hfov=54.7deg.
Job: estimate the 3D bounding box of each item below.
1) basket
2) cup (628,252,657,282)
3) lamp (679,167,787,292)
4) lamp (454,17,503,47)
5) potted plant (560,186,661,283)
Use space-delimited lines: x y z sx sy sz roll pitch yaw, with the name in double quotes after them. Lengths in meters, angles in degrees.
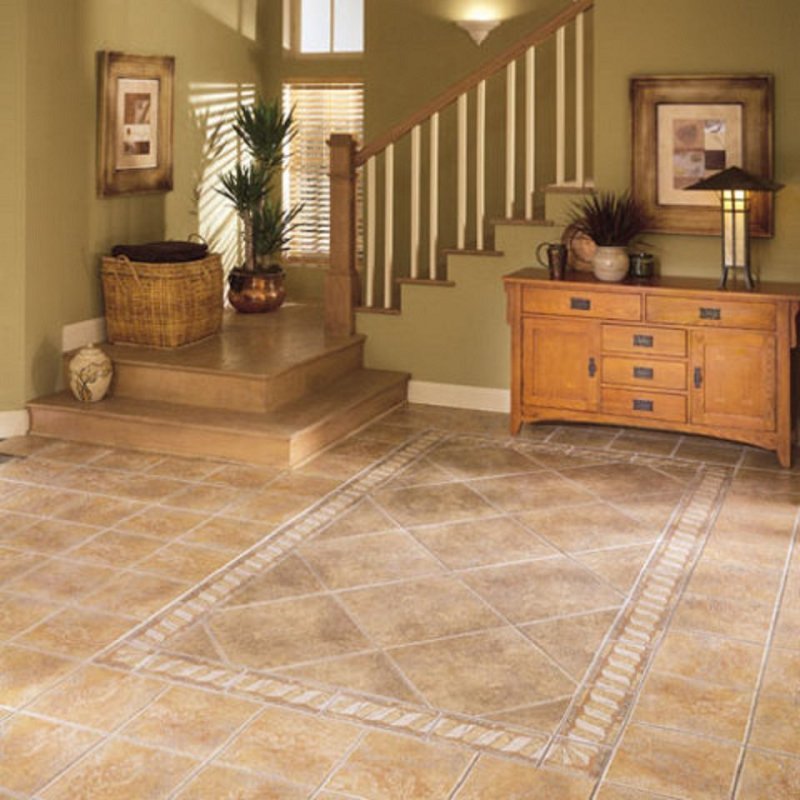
-1.616 -0.743 5.373 0.699 0.538 0.819 3 10 16 "basket"
1.433 -0.798 4.624 0.218 0.164 0.156 1 5 2 "cup"
1.878 -0.958 4.315 0.543 0.645 0.497 1 11 32 "lamp"
0.641 -3.058 6.425 0.373 0.209 0.118 1 13 4 "lamp"
1.202 -0.966 4.551 0.395 0.393 0.304 -5 18 9 "potted plant"
